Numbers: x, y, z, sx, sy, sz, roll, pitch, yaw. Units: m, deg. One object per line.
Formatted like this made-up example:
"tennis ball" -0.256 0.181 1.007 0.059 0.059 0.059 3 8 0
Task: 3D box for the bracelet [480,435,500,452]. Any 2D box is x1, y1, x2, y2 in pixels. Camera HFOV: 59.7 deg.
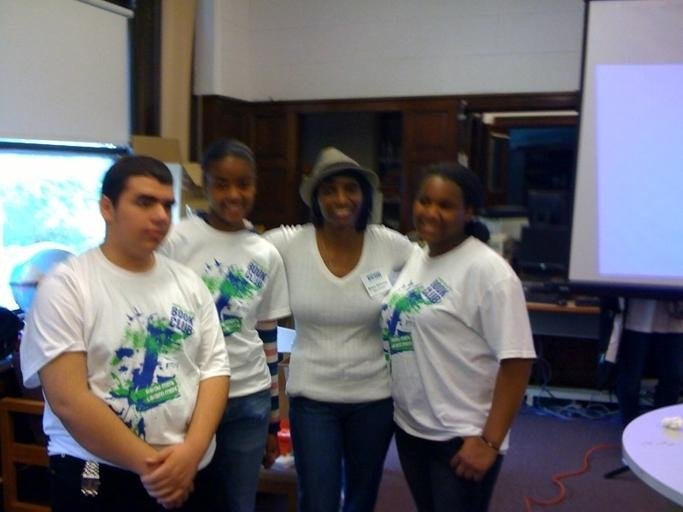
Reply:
"bracelet" 0.507 0.645 2.049 0.046 0.023 0.061 48 -3 -40
